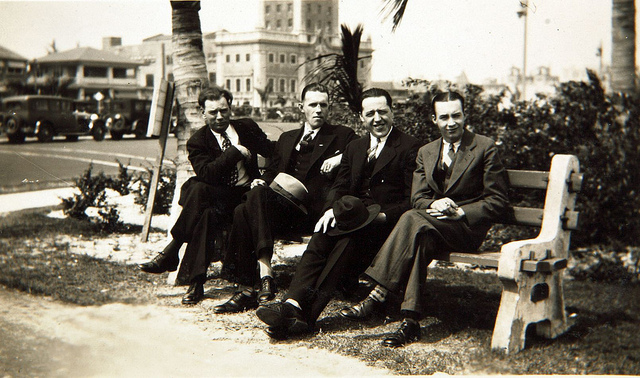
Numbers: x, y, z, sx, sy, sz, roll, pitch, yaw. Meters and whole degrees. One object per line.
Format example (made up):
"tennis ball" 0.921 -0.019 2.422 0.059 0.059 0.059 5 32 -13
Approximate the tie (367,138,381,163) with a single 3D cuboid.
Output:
"tie" 0.683 -0.489 7.670 0.063 0.282 0.212 16 11 10

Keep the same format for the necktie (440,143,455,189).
"necktie" 1.583 -0.333 7.418 0.073 0.733 0.090 18 -8 -38

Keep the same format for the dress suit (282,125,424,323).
"dress suit" 0.373 0.393 7.450 1.139 2.875 1.275 2 2 38

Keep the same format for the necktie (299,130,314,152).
"necktie" -0.179 -0.652 8.033 0.097 0.331 0.129 31 18 21

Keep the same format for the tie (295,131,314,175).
"tie" -0.215 -0.530 8.089 0.137 0.695 0.097 20 1 30

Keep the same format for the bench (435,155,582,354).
"bench" 2.312 0.848 7.307 1.106 1.922 2.179 -2 0 -22

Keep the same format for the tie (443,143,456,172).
"tie" 1.606 -0.378 7.397 0.064 0.278 0.209 16 -4 17
